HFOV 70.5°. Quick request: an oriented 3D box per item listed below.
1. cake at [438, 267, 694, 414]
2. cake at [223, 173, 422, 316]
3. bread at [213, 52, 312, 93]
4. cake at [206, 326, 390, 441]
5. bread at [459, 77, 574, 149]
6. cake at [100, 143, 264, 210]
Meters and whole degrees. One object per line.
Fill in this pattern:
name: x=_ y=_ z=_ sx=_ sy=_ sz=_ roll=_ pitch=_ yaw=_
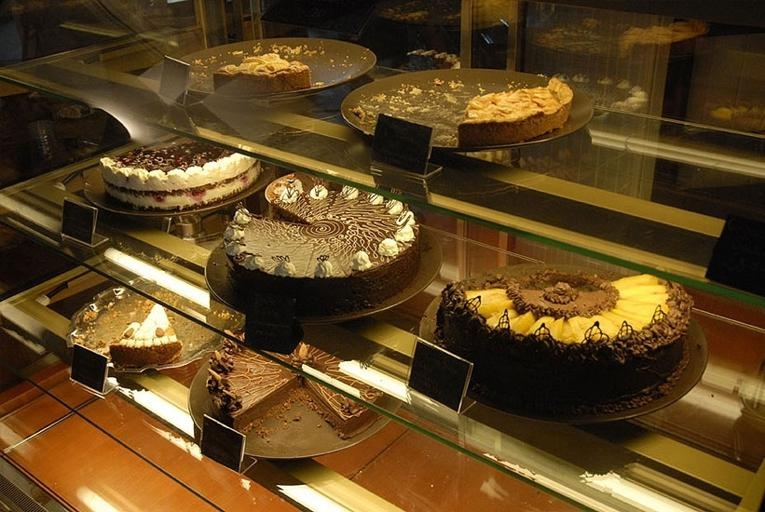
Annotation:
cake: x=0.588 y=0.206 z=1.793 sx=0.765 sy=0.254 sz=0.712 roll=-9 pitch=24 yaw=-12
cake: x=-0.210 y=0.037 z=2.213 sx=0.694 sy=0.217 sz=0.672 roll=-21 pitch=37 yaw=-32
bread: x=-0.401 y=-0.600 z=1.800 sx=0.263 sy=0.081 sz=0.167 roll=1 pitch=28 yaw=5
cake: x=-0.448 y=0.454 z=2.273 sx=0.610 sy=0.183 sz=0.586 roll=20 pitch=12 yaw=14
bread: x=0.387 y=-0.411 z=1.540 sx=0.274 sy=0.102 sz=0.421 roll=10 pitch=35 yaw=17
cake: x=-0.956 y=-0.420 z=2.575 sx=0.646 sy=0.180 sz=0.661 roll=16 pitch=31 yaw=28
